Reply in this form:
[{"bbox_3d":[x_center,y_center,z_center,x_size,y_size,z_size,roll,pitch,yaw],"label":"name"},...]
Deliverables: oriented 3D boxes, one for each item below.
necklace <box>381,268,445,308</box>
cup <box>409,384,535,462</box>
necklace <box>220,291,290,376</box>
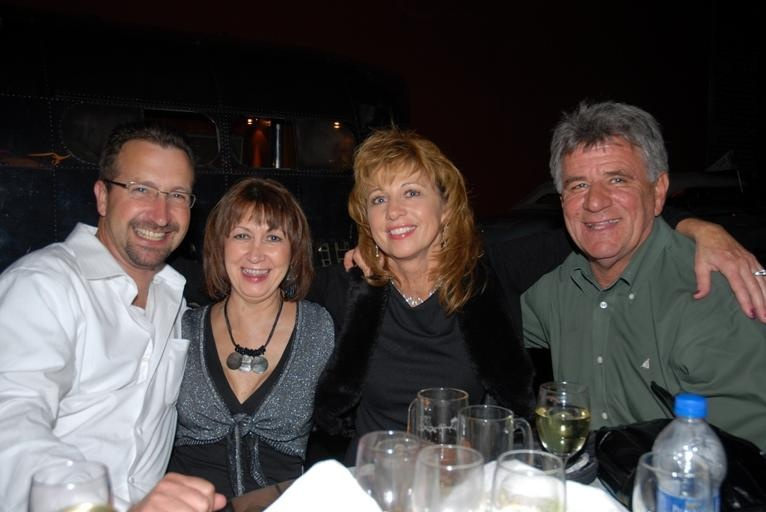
[{"bbox_3d":[0.239,0.206,3.499,0.279,0.177,0.069,2,-23,1],"label":"necklace"},{"bbox_3d":[0.357,0.701,2.406,0.476,0.328,0.252,3,-8,-3],"label":"cup"},{"bbox_3d":[-0.785,0.473,3.353,0.235,0.407,0.121,3,-41,-8],"label":"necklace"}]
